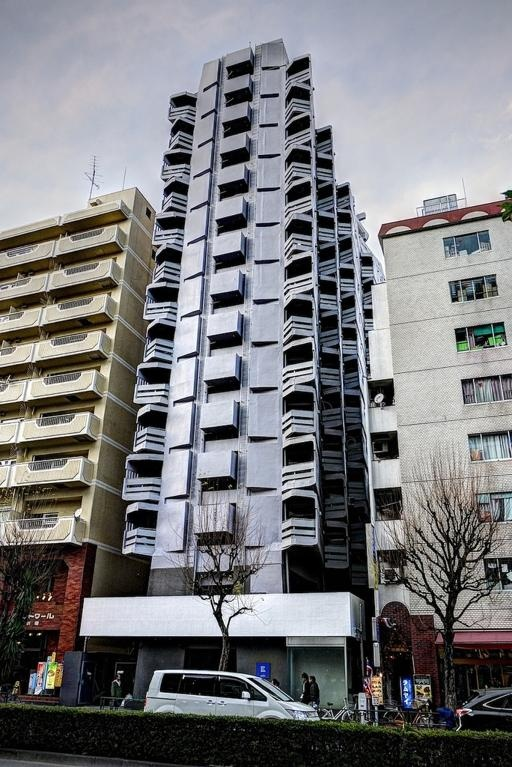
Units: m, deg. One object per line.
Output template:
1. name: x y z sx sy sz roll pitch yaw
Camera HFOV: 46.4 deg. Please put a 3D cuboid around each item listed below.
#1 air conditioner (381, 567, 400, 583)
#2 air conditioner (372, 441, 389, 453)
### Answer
1. air conditioner: 5.775 8.233 25.456 0.488 0.721 0.842 17 -29 -34
2. air conditioner: 6.202 3.199 29.639 0.928 0.663 0.510 -3 -23 12
